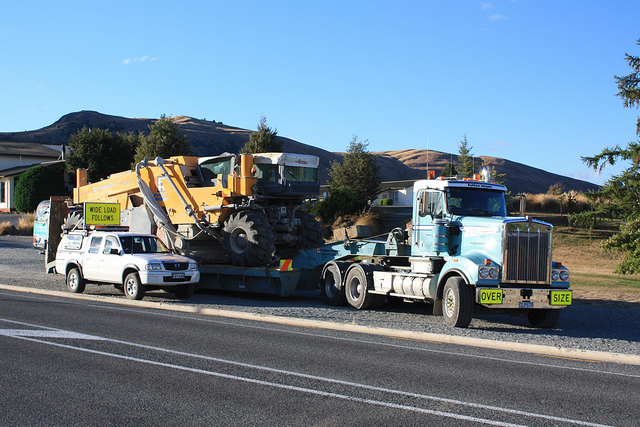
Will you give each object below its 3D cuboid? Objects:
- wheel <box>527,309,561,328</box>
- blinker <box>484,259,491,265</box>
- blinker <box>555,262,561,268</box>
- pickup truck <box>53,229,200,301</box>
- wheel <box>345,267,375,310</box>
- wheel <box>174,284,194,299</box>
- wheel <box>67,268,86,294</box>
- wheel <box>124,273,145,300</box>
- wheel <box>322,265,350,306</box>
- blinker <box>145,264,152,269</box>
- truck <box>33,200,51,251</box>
[{"bbox_3d":[6.730,3.153,15.182,0.217,0.730,0.686,4,-3,-19],"label":"wheel"},{"bbox_3d":[4.763,1.375,14.375,0.251,0.136,0.123,2,-1,-31],"label":"blinker"},{"bbox_3d":[7.076,1.535,14.976,0.146,0.043,0.165,1,-2,20],"label":"blinker"},{"bbox_3d":[-7.662,1.942,19.575,6.055,2.495,1.744,1,-1,29],"label":"pickup truck"},{"bbox_3d":[1.407,2.669,17.921,0.514,1.548,1.460,5,-7,-26],"label":"wheel"},{"bbox_3d":[-5.223,2.933,19.118,0.638,0.697,0.233,-2,-4,41],"label":"wheel"},{"bbox_3d":[-9.856,2.704,20.193,0.973,1.028,0.342,-28,-17,29],"label":"wheel"},{"bbox_3d":[-6.772,2.640,18.312,0.290,0.937,0.870,5,4,-37],"label":"wheel"},{"bbox_3d":[0.556,2.725,18.864,0.544,1.574,1.456,11,-10,-39],"label":"wheel"},{"bbox_3d":[-6.198,1.895,18.051,0.258,0.145,0.058,1,-1,-1],"label":"blinker"},{"bbox_3d":[-15.582,0.632,28.019,0.679,2.981,5.676,2,-1,-30],"label":"truck"}]
